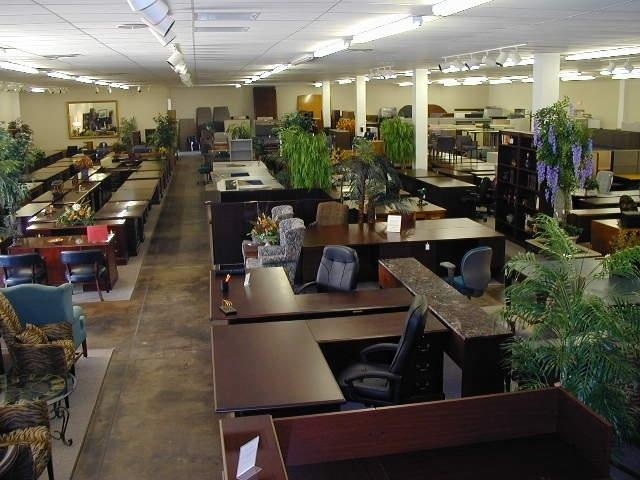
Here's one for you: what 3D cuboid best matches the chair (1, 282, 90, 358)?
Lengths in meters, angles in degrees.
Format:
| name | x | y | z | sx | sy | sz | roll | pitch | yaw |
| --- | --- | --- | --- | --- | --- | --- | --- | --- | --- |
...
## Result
| name | x | y | z | sx | sy | sz | roll | pitch | yaw |
| --- | --- | --- | --- | --- | --- | --- | --- | --- | --- |
| chair | -3.024 | 0.880 | 5.471 | 0.900 | 1.021 | 0.842 | 0 | 14 | -3 |

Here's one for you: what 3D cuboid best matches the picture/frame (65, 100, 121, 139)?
| name | x | y | z | sx | sy | sz | roll | pitch | yaw |
| --- | --- | --- | --- | --- | --- | --- | --- | --- | --- |
| picture/frame | -13.235 | -7.031 | 26.490 | 2.743 | 2.038 | 0.130 | -3 | 11 | -18 |

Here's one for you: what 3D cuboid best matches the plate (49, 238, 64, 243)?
| name | x | y | z | sx | sy | sz | roll | pitch | yaw |
| --- | --- | --- | --- | --- | --- | --- | --- | --- | --- |
| plate | -4.601 | 0.009 | 8.004 | 0.304 | 0.036 | 0.227 | 0 | 14 | 12 |

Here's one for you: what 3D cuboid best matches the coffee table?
| name | x | y | z | sx | sy | sz | roll | pitch | yaw |
| --- | --- | --- | --- | --- | --- | --- | --- | --- | --- |
| coffee table | -2.646 | 1.504 | 4.343 | 0.708 | 0.280 | 0.722 | 7 | 12 | 28 |

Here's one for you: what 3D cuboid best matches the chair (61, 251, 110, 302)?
| name | x | y | z | sx | sy | sz | roll | pitch | yaw |
| --- | --- | --- | --- | --- | --- | --- | --- | --- | --- |
| chair | -3.907 | 0.498 | 7.633 | 0.674 | 0.900 | 0.649 | -5 | 22 | -26 |

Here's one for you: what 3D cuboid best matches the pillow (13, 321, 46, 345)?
| name | x | y | z | sx | sy | sz | roll | pitch | yaw |
| --- | --- | --- | --- | --- | --- | --- | --- | --- | --- |
| pillow | -2.917 | 0.952 | 4.602 | 0.218 | 0.071 | 0.199 | 26 | 14 | 1 |
